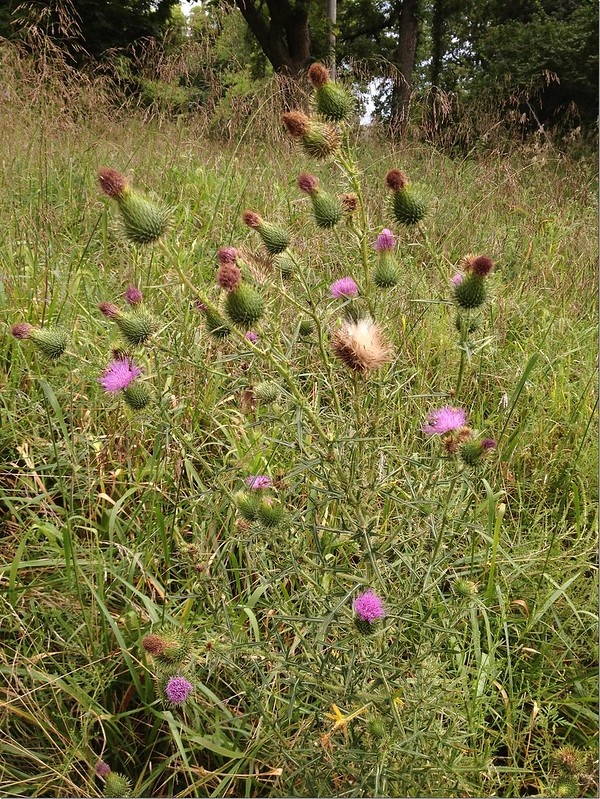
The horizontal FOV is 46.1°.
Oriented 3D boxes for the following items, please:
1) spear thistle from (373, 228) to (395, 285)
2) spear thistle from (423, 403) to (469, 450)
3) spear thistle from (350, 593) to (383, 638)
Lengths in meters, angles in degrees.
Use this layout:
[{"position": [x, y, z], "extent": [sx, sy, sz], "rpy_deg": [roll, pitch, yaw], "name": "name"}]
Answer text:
[{"position": [0.229, -0.388, 1.915], "extent": [0.078, 0.159, 0.065], "rpy_deg": [-4, 8, -20], "name": "spear thistle"}, {"position": [0.347, 0.080, 1.768], "extent": [0.104, 0.108, 0.103], "rpy_deg": [-28, -9, 19], "name": "spear thistle"}, {"position": [0.133, 0.467, 1.540], "extent": [0.074, 0.076, 0.074], "rpy_deg": [-3, 4, -14], "name": "spear thistle"}]
